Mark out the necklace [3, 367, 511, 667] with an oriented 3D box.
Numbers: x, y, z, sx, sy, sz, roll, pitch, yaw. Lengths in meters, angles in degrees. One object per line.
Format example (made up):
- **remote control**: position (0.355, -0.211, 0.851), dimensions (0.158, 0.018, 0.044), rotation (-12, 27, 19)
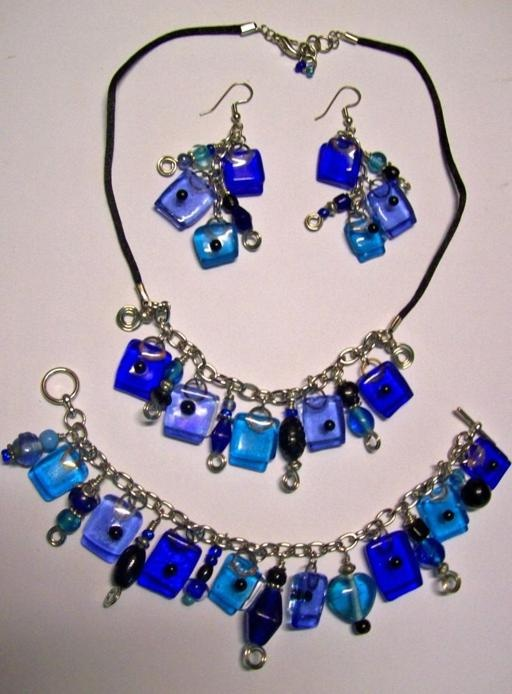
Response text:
- **necklace**: position (-0.052, 0.506, 1.935), dimensions (0.945, 0.098, 0.613), rotation (2, 70, -8)
